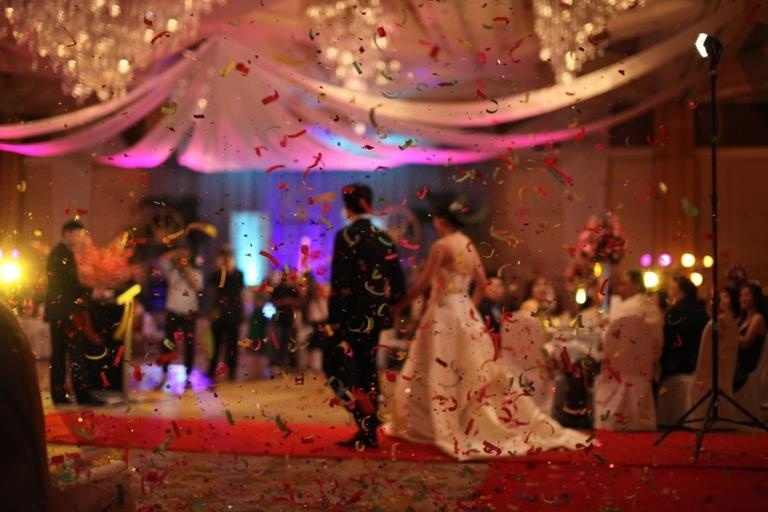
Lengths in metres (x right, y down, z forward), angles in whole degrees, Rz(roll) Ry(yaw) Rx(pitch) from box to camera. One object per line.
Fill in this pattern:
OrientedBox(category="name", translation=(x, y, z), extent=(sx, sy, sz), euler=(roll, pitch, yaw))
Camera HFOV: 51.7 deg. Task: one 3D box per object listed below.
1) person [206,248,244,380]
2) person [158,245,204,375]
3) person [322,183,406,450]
OrientedBox(category="person", translation=(-1.849, 0.690, 9.275), extent=(0.438, 1.561, 0.828), euler=(0, 5, -11))
OrientedBox(category="person", translation=(-2.252, 0.718, 8.878), extent=(0.490, 1.541, 2.859), euler=(0, 5, -15))
OrientedBox(category="person", translation=(-0.167, 0.529, 6.946), extent=(0.702, 2.307, 0.368), euler=(1, 6, 1))
